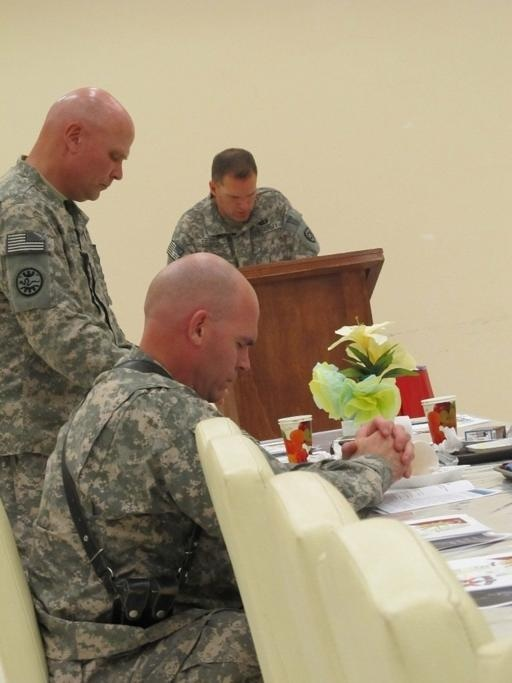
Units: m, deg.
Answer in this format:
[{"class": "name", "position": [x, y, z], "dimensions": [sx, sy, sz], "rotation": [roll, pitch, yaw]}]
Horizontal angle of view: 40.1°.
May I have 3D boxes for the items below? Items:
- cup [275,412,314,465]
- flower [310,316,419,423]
[{"class": "cup", "position": [0.080, 0.207, 1.455], "dimensions": [0.107, 0.094, 0.095], "rotation": [-4, -5, -1]}, {"class": "flower", "position": [0.186, 0.053, 1.479], "dimensions": [0.250, 0.205, 0.228], "rotation": [-2, 6, 27]}]
